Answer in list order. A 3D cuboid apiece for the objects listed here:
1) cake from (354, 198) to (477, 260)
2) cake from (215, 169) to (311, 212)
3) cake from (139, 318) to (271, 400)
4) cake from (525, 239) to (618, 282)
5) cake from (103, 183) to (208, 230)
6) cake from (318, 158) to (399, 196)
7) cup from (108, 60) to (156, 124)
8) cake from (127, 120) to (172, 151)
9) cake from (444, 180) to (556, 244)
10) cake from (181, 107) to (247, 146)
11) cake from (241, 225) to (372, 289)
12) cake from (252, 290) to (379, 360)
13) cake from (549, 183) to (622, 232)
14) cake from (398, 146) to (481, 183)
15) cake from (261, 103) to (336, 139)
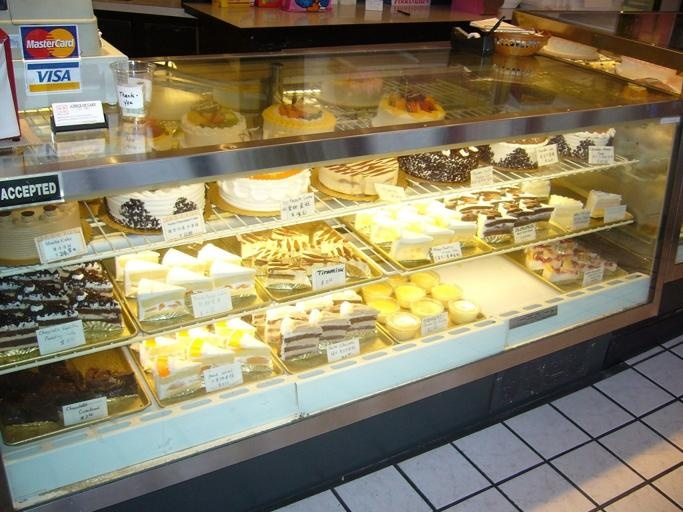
[{"bbox_3d":[0.326,-0.120,2.389,0.430,0.144,0.442,-11,26,-27],"label":"cake"},{"bbox_3d":[-0.280,-0.240,1.920,0.335,0.164,0.093,-8,40,-12],"label":"cake"},{"bbox_3d":[-0.557,0.413,2.135,0.512,0.165,0.330,-14,35,-22],"label":"cake"},{"bbox_3d":[1.240,0.032,2.843,0.386,0.082,0.315,-14,36,-22],"label":"cake"},{"bbox_3d":[-0.633,-0.178,1.773,0.333,0.155,0.147,-11,38,-16],"label":"cake"},{"bbox_3d":[0.079,-0.342,2.158,0.357,0.126,0.223,-4,33,-6],"label":"cake"},{"bbox_3d":[-0.674,-0.551,1.706,0.160,0.195,0.119,22,37,28],"label":"cup"},{"bbox_3d":[-0.623,-0.390,1.639,0.182,0.052,0.139,8,30,2],"label":"cake"},{"bbox_3d":[0.818,-0.255,2.672,0.787,0.157,0.394,-6,20,-19],"label":"cake"},{"bbox_3d":[-0.430,-0.443,1.730,0.215,0.061,0.273,-4,31,-8],"label":"cake"},{"bbox_3d":[-0.173,0.013,2.211,0.474,0.130,0.478,-9,22,-16],"label":"cake"},{"bbox_3d":[-0.103,0.306,2.302,0.485,0.124,0.409,-10,21,-26],"label":"cake"},{"bbox_3d":[1.309,-0.282,2.841,0.447,0.244,0.320,-10,27,-23],"label":"cake"},{"bbox_3d":[0.413,-0.402,2.227,0.305,0.078,0.245,-8,25,-20],"label":"cake"},{"bbox_3d":[-0.161,-0.481,1.823,0.246,0.054,0.188,1,24,-5],"label":"cake"}]
